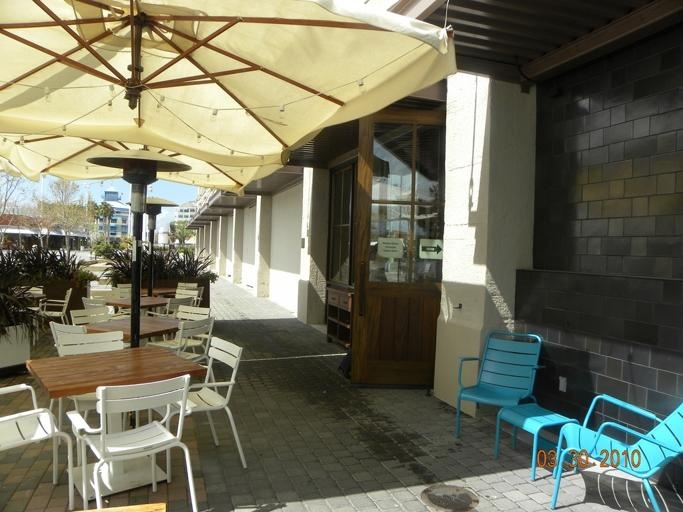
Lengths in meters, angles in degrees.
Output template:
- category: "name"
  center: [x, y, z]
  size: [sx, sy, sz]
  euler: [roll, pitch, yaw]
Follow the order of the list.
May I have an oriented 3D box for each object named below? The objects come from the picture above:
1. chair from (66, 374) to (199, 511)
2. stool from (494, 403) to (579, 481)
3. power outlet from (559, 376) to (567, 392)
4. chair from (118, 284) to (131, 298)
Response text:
- category: "chair"
  center: [-1.535, 1.402, 3.622]
  size: [0.890, 1.083, 1.230]
  euler: [0, 4, -28]
- category: "stool"
  center: [1.816, 1.695, 4.525]
  size: [0.722, 0.475, 0.639]
  euler: [-4, 7, -20]
- category: "power outlet"
  center: [2.342, 1.356, 5.104]
  size: [0.036, 0.123, 0.123]
  euler: [6, -2, -40]
- category: "chair"
  center: [-3.917, 0.623, 8.684]
  size: [0.206, 0.205, 0.375]
  euler: [0, 3, -26]
